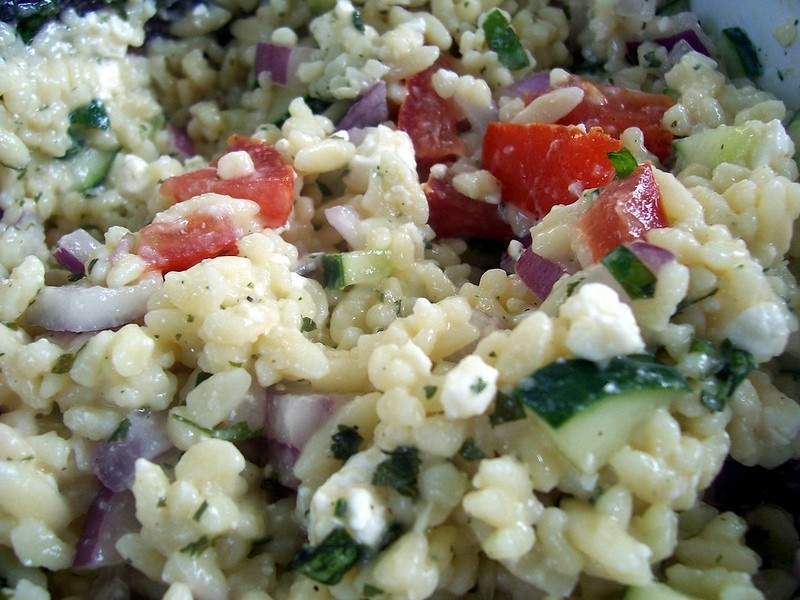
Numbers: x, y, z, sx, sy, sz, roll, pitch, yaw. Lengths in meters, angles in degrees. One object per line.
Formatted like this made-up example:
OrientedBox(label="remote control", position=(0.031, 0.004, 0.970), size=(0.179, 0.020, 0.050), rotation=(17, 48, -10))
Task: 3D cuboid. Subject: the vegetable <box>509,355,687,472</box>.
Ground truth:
OrientedBox(label="vegetable", position=(0.376, 0.204, 1.734), size=(0.285, 0.089, 0.246), rotation=(-43, 68, -9))
